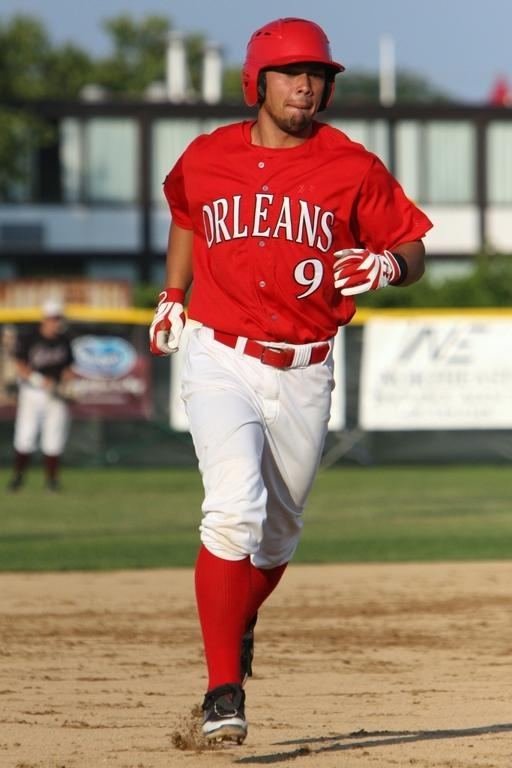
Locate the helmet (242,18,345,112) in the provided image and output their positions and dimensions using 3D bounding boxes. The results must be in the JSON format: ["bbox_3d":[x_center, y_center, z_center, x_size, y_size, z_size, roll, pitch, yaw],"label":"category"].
[{"bbox_3d":[0.096,-0.926,3.960,0.320,0.240,0.258,11,15,39],"label":"helmet"}]

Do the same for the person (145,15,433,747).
[{"bbox_3d":[-0.029,-0.009,3.851,0.705,2.067,0.848,4,5,30],"label":"person"}]

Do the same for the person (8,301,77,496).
[{"bbox_3d":[-1.436,0.051,9.170,0.394,1.201,1.599,1,4,-8],"label":"person"}]

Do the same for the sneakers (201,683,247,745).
[{"bbox_3d":[-0.075,0.834,3.455,0.075,0.082,0.189,0,-3,-3],"label":"sneakers"}]

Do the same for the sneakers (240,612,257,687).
[{"bbox_3d":[-0.029,0.763,3.947,0.063,0.185,0.079,3,-17,-5],"label":"sneakers"}]

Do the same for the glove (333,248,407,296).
[{"bbox_3d":[0.299,-0.307,3.772,0.184,0.117,0.067,-15,-13,-46],"label":"glove"}]

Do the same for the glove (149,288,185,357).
[{"bbox_3d":[-0.270,-0.188,4.058,0.069,0.181,0.113,23,-22,-27],"label":"glove"}]
